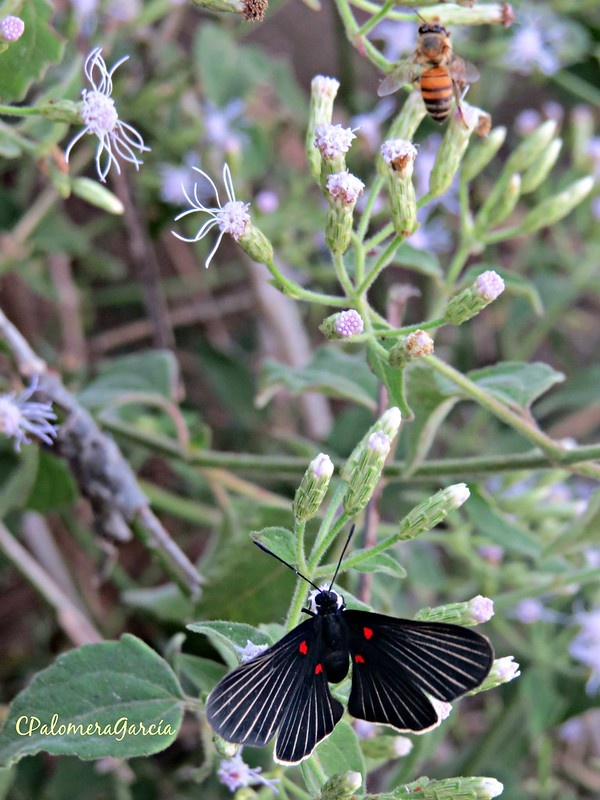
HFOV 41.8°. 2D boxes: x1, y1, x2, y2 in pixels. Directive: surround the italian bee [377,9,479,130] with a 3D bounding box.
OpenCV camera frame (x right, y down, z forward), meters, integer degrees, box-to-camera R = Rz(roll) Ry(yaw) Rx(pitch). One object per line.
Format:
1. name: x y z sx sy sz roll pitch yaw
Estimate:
1. italian bee: 0.099 -0.238 0.615 0.080 0.104 0.083 -1 14 6
